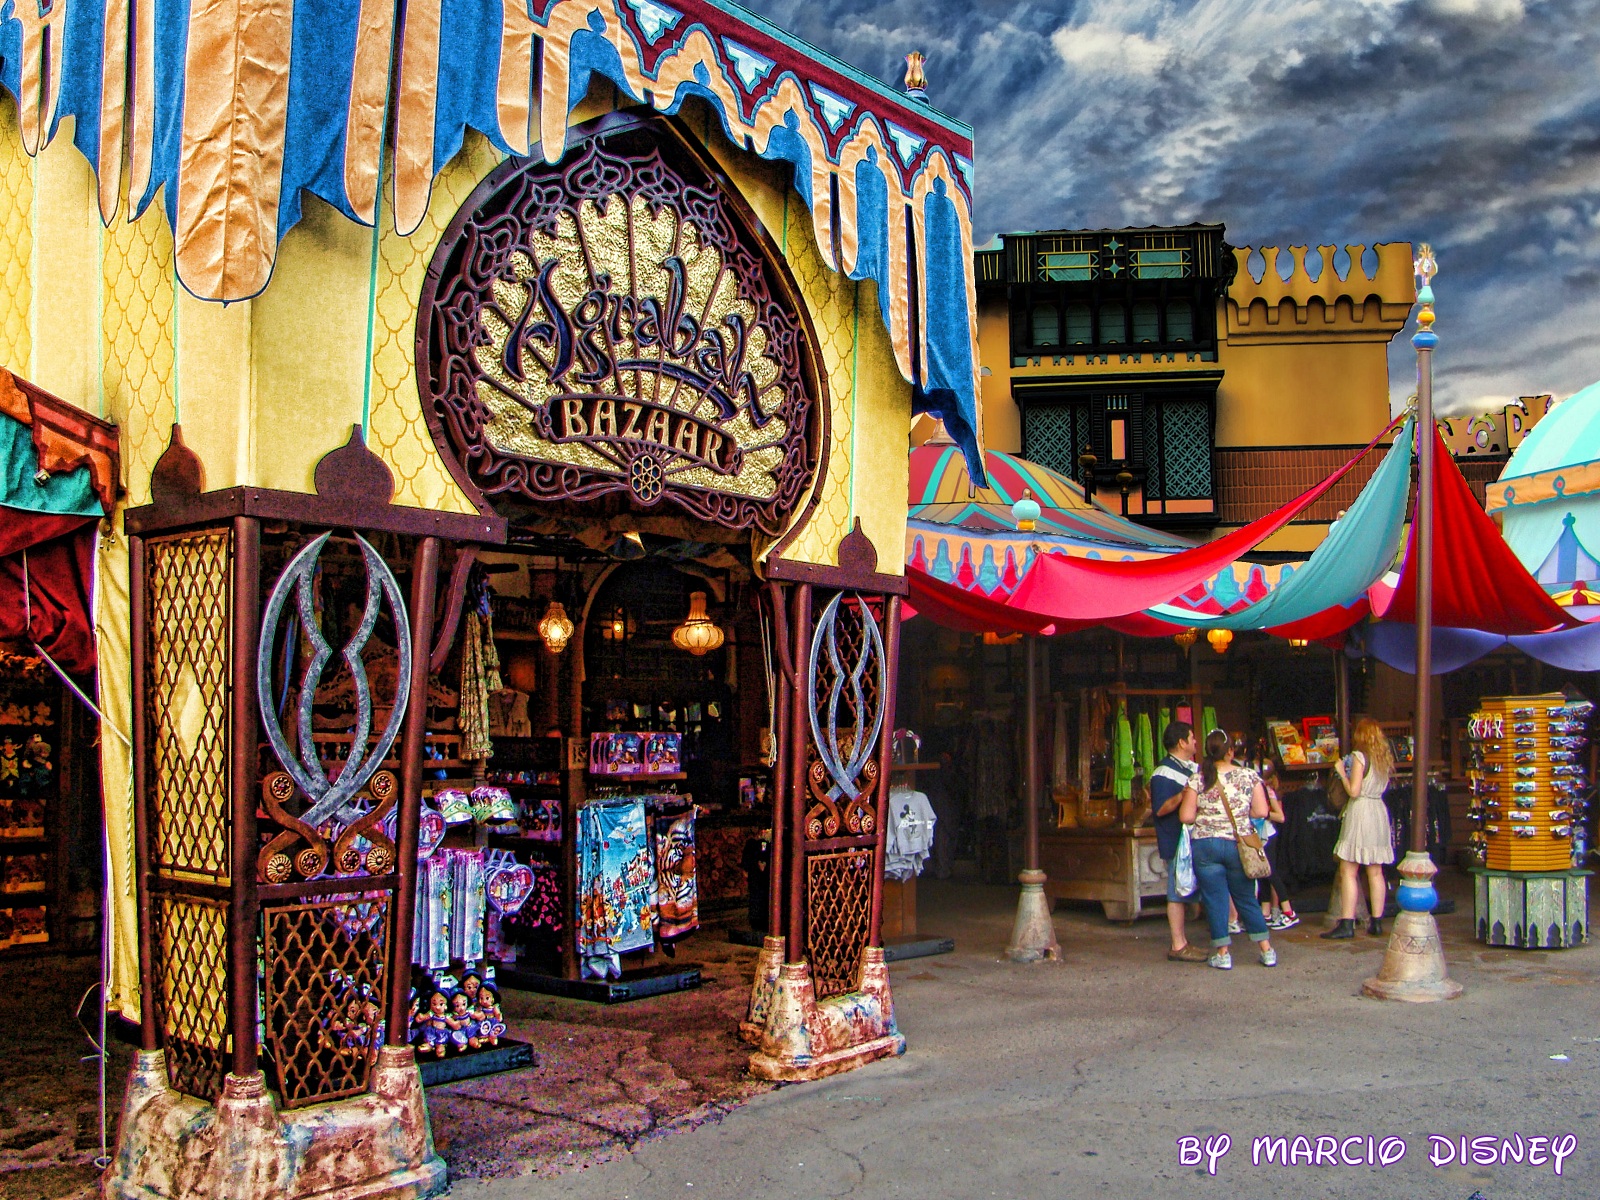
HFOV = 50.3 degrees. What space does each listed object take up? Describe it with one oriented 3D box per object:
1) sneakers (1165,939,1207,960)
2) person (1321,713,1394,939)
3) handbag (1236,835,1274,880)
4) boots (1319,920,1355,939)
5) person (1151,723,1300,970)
[{"bbox_3d":[3.025,2.768,13.284,0.219,0.096,0.121,-2,0,0],"label":"sneakers"},{"bbox_3d":[4.579,1.914,13.942,0.482,1.928,0.795,1,6,17],"label":"person"},{"bbox_3d":[3.487,1.984,13.004,0.176,0.386,0.354,4,7,40],"label":"handbag"},{"bbox_3d":[4.493,2.764,14.163,0.329,0.228,0.129,1,0,14],"label":"boots"},{"bbox_3d":[3.206,1.946,13.163,0.658,1.878,1.043,-4,6,-28],"label":"person"}]
